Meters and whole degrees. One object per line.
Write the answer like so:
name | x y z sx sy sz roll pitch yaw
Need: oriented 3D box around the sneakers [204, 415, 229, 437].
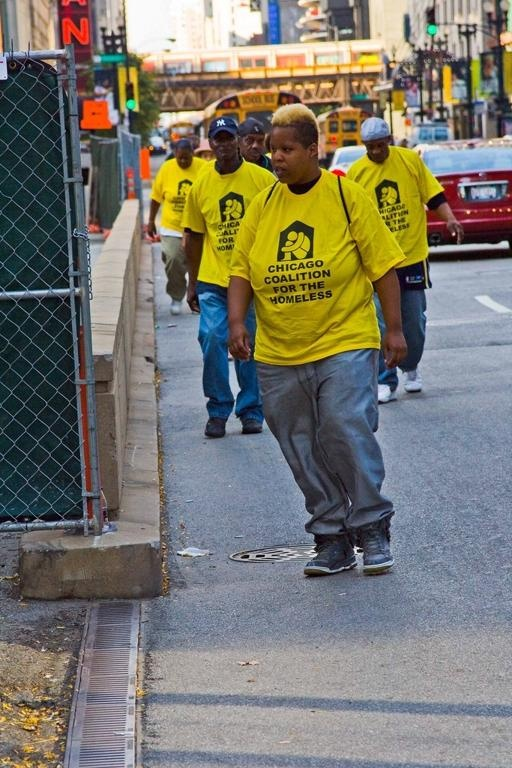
sneakers | -0.253 0.280 7.107 0.134 0.150 0.361 1 -5 2

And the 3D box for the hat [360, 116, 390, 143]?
hat | 0.796 -1.681 7.135 0.184 0.137 0.177 1 41 23

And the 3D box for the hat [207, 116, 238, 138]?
hat | -0.200 -1.596 6.722 0.135 0.089 0.188 -3 -6 1

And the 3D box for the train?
train | 0.904 -37.712 126.814 28.318 7.024 14.674 -1 7 1

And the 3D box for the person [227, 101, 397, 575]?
person | 0.223 -0.161 4.152 0.700 1.811 0.330 0 9 12

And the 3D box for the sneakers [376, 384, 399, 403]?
sneakers | 0.944 0.070 7.780 0.098 0.099 0.260 -1 -6 24

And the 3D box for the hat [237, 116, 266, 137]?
hat | -0.020 -1.775 7.426 0.150 0.118 0.197 -3 4 -30

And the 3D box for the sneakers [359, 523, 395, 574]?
sneakers | 0.456 0.608 4.149 0.117 0.198 0.322 -6 4 4
